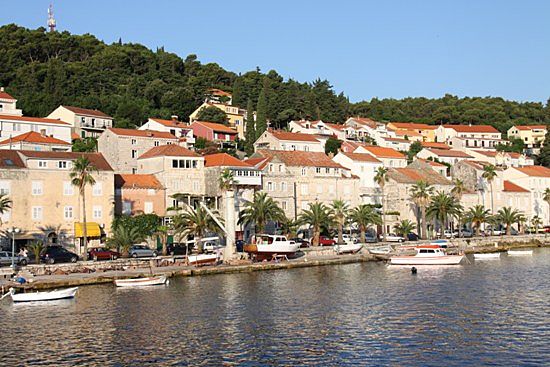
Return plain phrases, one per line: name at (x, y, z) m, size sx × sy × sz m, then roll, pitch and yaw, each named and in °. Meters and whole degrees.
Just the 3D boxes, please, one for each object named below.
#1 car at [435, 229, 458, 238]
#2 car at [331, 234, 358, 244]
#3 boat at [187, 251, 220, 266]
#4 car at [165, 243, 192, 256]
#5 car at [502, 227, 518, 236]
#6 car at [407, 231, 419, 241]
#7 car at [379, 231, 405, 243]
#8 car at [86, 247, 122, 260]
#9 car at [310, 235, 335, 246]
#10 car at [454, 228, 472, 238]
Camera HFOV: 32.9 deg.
car at (35.115, 10.209, 188.330) m, size 3.754 × 1.245 × 1.868 m, roll -3°, pitch 3°, yaw -33°
car at (13.570, 10.549, 175.316) m, size 3.767 × 1.471 × 2.031 m, roll -3°, pitch 2°, yaw -25°
boat at (-12.221, 12.573, 156.668) m, size 3.724 × 1.730 × 2.279 m, roll -4°, pitch 1°, yaw -24°
car at (-16.574, 11.251, 161.634) m, size 3.715 × 1.581 × 2.122 m, roll -3°, pitch 0°, yaw -15°
car at (49.461, 10.096, 196.408) m, size 1.868 × 1.445 × 4.356 m, roll 1°, pitch 1°, yaw 39°
car at (27.415, 10.340, 185.006) m, size 2.705 × 1.368 × 1.340 m, roll -4°, pitch 4°, yaw -26°
car at (22.741, 10.297, 180.674) m, size 4.454 × 1.442 × 1.935 m, roll -1°, pitch 1°, yaw 0°
car at (-28.595, 11.590, 155.462) m, size 4.074 × 1.715 × 2.295 m, roll -2°, pitch 1°, yaw -16°
car at (9.318, 10.591, 173.416) m, size 4.143 × 1.378 × 1.832 m, roll -3°, pitch 2°, yaw -26°
car at (38.600, 10.110, 190.550) m, size 3.485 × 1.130 × 1.749 m, roll -2°, pitch 2°, yaw -33°
